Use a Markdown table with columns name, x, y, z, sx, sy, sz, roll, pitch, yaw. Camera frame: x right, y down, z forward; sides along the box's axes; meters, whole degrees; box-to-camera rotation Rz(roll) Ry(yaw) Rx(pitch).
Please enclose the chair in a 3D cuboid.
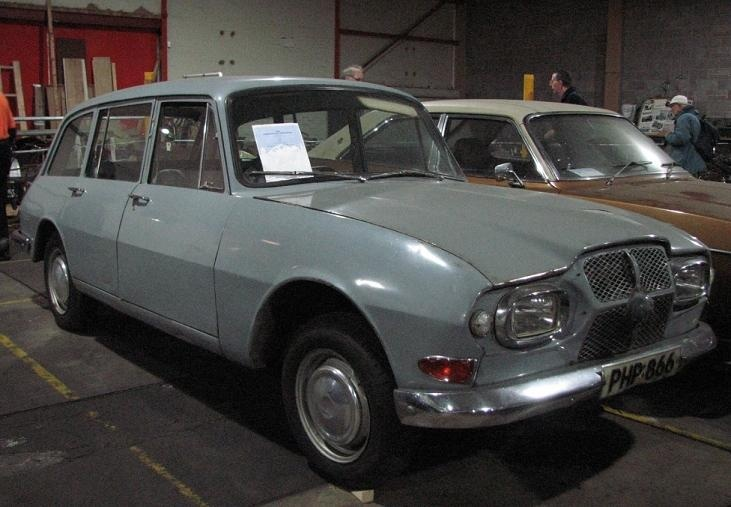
| name | x | y | z | sx | sy | sz | roll | pitch | yaw |
| --- | --- | --- | --- | --- | --- | --- | --- | --- | --- |
| chair | 1.577 | -1.127 | 5.186 | 0.594 | 0.502 | 1.070 | -9 | 14 | -42 |
